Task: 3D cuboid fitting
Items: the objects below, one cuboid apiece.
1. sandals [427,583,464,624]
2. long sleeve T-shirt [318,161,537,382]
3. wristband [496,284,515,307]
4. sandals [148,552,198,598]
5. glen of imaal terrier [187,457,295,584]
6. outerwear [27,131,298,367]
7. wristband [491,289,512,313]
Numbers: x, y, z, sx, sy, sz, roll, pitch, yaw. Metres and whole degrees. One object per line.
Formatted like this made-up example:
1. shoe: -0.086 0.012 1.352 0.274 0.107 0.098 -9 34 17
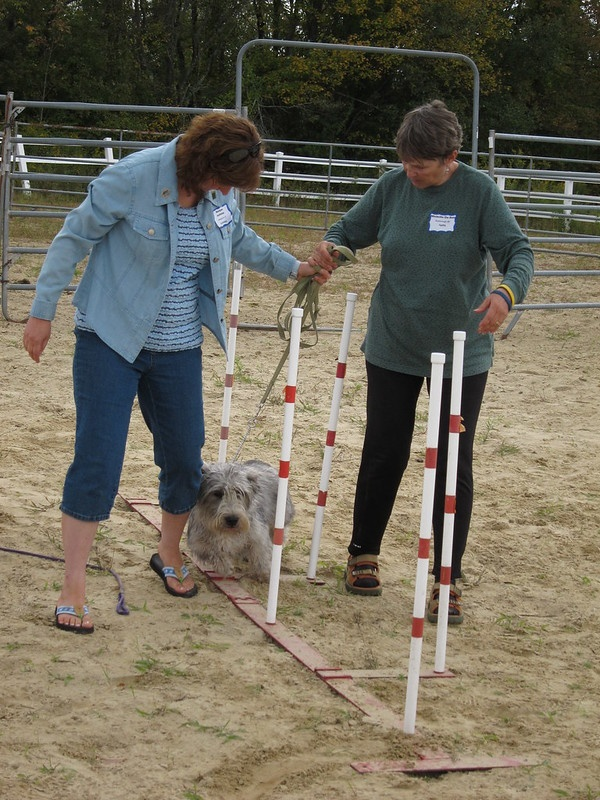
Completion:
1. sandals: 0.619 0.883 4.178 0.124 0.099 0.269 0 -2 2
2. long sleeve T-shirt: 0.542 -0.527 4.023 0.888 0.865 0.360 14 12 43
3. wristband: 0.774 -0.394 3.681 0.072 0.044 0.084 -7 56 -49
4. sandals: -0.560 0.748 4.218 0.105 0.062 0.275 -18 33 -37
5. glen of imaal terrier: -0.310 0.613 4.620 0.464 0.454 0.719 3 -7 4
6. outerwear: -0.496 -0.548 3.661 0.381 0.803 0.955 13 11 31
7. wristband: 0.769 -0.383 3.677 0.089 0.033 0.080 45 8 8
